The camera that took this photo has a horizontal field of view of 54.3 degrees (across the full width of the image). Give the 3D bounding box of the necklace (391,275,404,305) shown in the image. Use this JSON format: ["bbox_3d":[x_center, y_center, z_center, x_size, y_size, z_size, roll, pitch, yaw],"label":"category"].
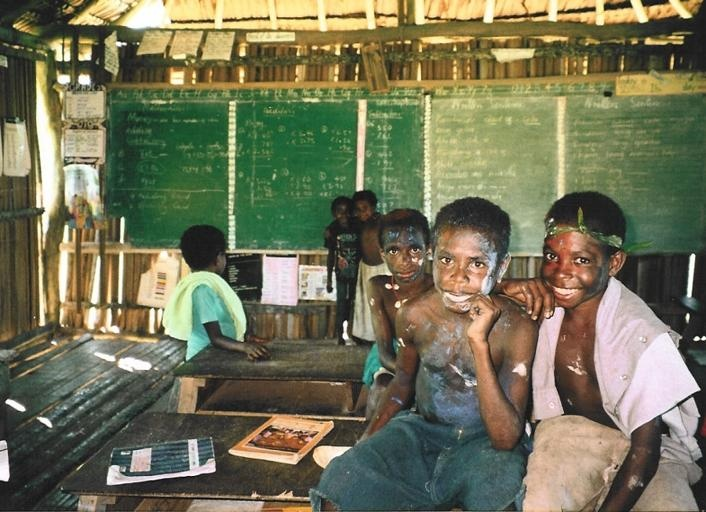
[{"bbox_3d":[0.277,0.214,4.332,0.065,0.179,0.058,-17,-5,26],"label":"necklace"}]
